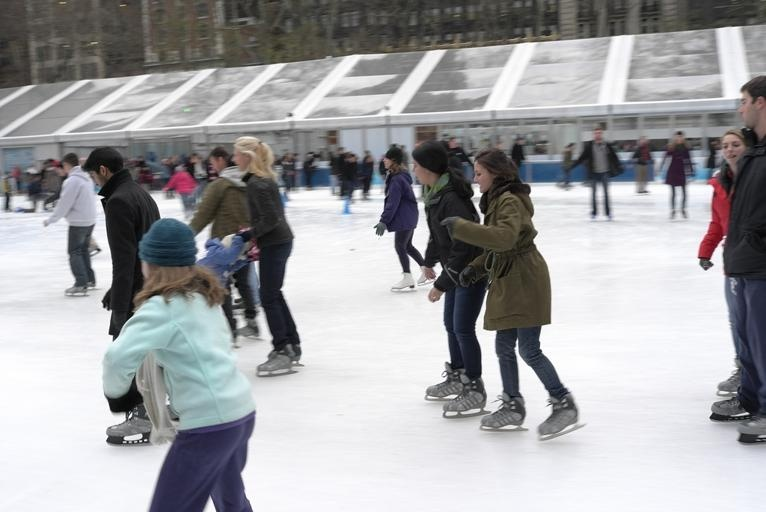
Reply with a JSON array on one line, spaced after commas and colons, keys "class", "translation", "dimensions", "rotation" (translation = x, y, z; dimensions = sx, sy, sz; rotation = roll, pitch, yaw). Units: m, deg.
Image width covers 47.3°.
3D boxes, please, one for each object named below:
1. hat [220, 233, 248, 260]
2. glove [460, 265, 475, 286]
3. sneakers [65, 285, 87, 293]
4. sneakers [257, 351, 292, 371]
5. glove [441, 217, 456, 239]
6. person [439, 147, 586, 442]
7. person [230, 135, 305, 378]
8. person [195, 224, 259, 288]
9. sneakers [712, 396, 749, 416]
[{"class": "hat", "translation": [-1.532, -0.097, 9.009], "dimensions": [0.247, 0.235, 0.301], "rotation": [1, 6, 26]}, {"class": "glove", "translation": [0.757, 0.173, 7.782], "dimensions": [0.084, 0.173, 0.138], "rotation": [34, -36, -28]}, {"class": "sneakers", "translation": [-4.519, 0.483, 12.957], "dimensions": [0.332, 0.119, 0.109], "rotation": [-1, 7, -5]}, {"class": "sneakers", "translation": [-1.128, 1.097, 9.119], "dimensions": [0.358, 0.136, 0.176], "rotation": [0, -3, -16]}, {"class": "glove", "translation": [0.554, -0.253, 7.326], "dimensions": [0.109, 0.157, 0.202], "rotation": [-4, 14, -3]}, {"class": "person", "translation": [1.162, 0.328, 7.655], "dimensions": [1.171, 2.479, 0.823], "rotation": [0, 16, 11]}, {"class": "person", "translation": [-1.340, -0.013, 9.194], "dimensions": [1.010, 2.455, 0.830], "rotation": [-4, -3, 5]}, {"class": "person", "translation": [-1.543, -0.011, 8.764], "dimensions": [0.860, 0.267, 0.236], "rotation": [-17, 40, 33]}, {"class": "sneakers", "translation": [3.085, 1.337, 7.841], "dimensions": [0.393, 0.136, 0.136], "rotation": [1, 5, 2]}]
